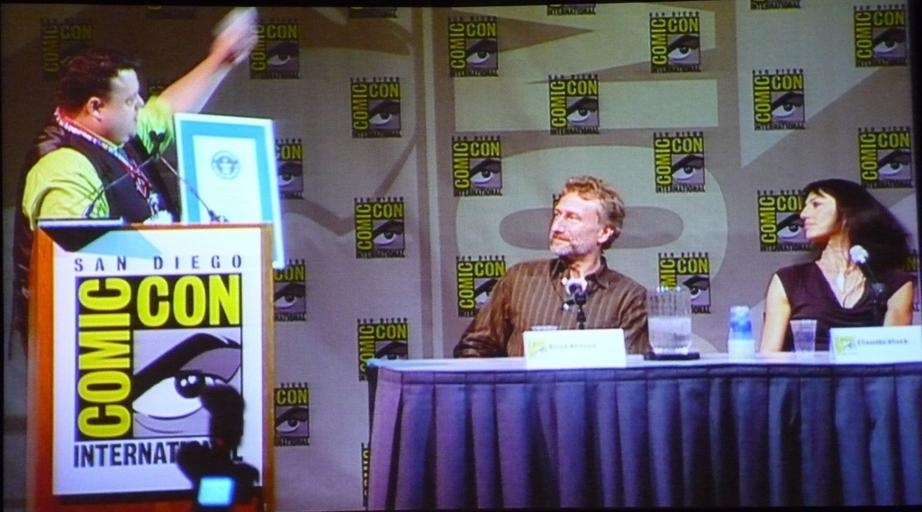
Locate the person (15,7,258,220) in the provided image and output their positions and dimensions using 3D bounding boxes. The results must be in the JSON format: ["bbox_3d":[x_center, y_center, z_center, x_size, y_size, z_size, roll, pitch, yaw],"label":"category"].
[{"bbox_3d":[-2.139,-0.966,8.517,1.205,1.955,1.584,2,6,7],"label":"person"}]

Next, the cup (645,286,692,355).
[{"bbox_3d":[1.291,0.402,7.157,0.252,0.366,0.153,-2,-1,5],"label":"cup"}]

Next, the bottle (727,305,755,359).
[{"bbox_3d":[1.760,0.470,7.259,0.148,0.293,0.165,-3,-1,14],"label":"bottle"}]

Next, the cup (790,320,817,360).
[{"bbox_3d":[2.173,0.511,7.301,0.132,0.218,0.221,-3,-1,16],"label":"cup"}]

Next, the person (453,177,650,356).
[{"bbox_3d":[0.687,0.317,7.832,1.376,1.609,0.804,3,3,-1],"label":"person"}]

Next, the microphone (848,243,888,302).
[{"bbox_3d":[2.743,0.109,7.767,0.227,0.371,0.038,-3,-1,16],"label":"microphone"}]
